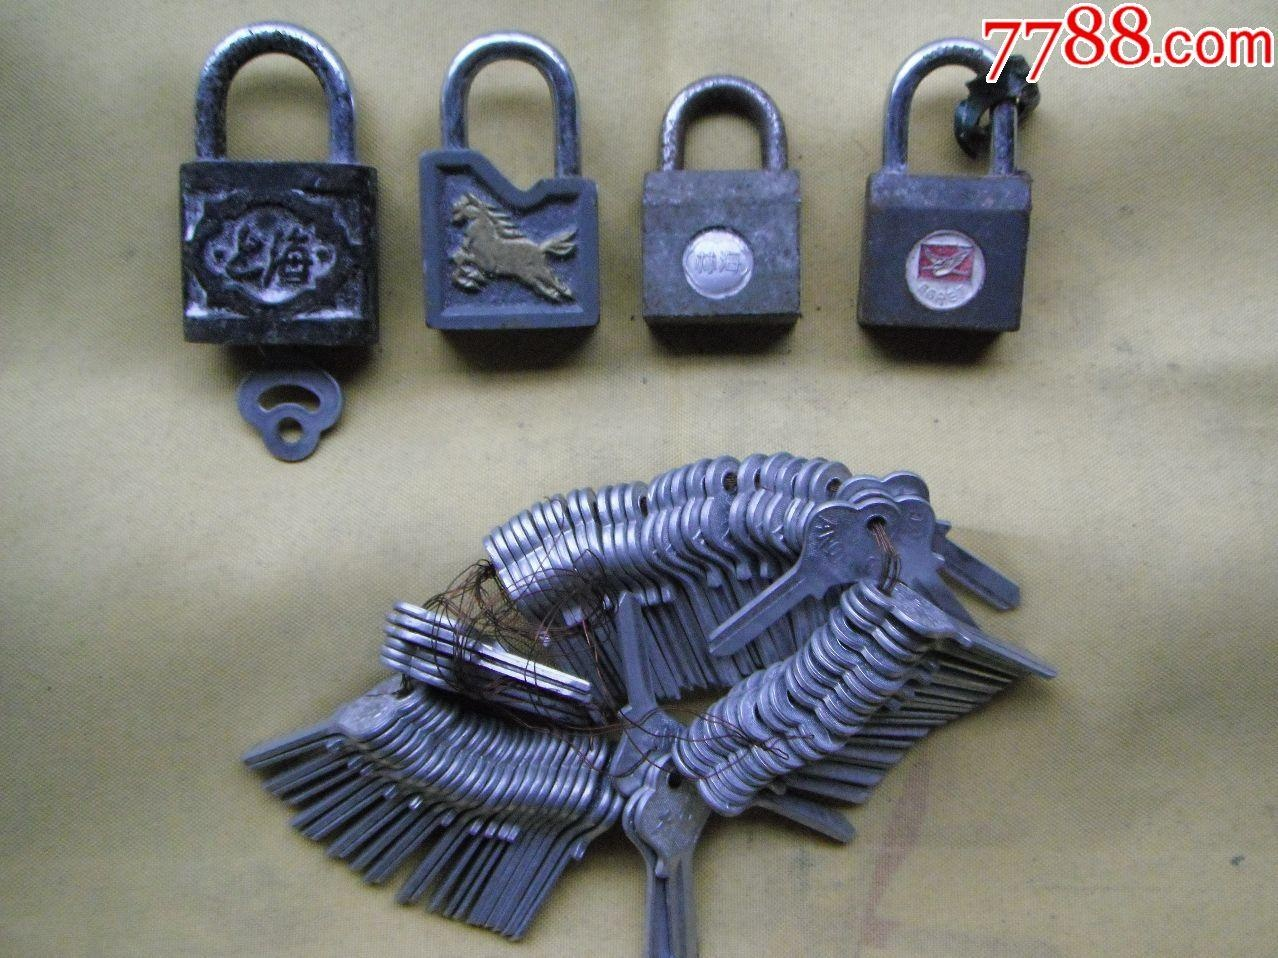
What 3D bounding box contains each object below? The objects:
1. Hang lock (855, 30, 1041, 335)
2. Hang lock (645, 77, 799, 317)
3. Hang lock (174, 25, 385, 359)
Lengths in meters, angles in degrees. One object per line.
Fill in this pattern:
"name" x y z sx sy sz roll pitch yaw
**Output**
"Hang lock" 0.464 -0.436 2.406 0.260 0.422 0.126 1 5 8
"Hang lock" 0.118 -0.434 2.348 0.228 0.397 0.106 0 44 3
"Hang lock" -0.527 -0.436 2.316 0.287 0.515 0.083 -3 44 -18
